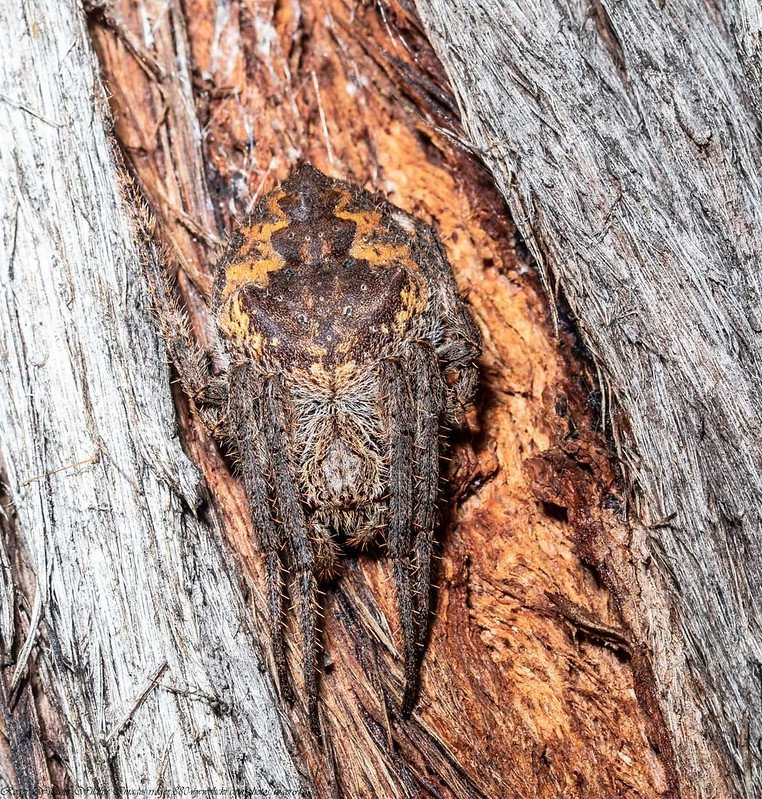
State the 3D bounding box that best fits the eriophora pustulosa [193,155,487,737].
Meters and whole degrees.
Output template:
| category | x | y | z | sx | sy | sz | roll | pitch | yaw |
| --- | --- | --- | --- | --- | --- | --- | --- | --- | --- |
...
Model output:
| category | x | y | z | sx | sy | sz | roll | pitch | yaw |
| --- | --- | --- | --- | --- | --- | --- | --- | --- | --- |
| eriophora pustulosa | -0.110 | 0.038 | 3.447 | 0.930 | 0.587 | 1.528 | -21 | 75 | -11 |
